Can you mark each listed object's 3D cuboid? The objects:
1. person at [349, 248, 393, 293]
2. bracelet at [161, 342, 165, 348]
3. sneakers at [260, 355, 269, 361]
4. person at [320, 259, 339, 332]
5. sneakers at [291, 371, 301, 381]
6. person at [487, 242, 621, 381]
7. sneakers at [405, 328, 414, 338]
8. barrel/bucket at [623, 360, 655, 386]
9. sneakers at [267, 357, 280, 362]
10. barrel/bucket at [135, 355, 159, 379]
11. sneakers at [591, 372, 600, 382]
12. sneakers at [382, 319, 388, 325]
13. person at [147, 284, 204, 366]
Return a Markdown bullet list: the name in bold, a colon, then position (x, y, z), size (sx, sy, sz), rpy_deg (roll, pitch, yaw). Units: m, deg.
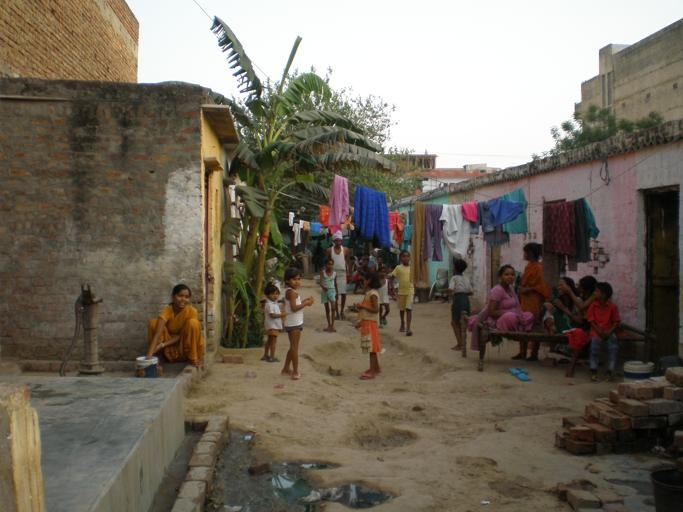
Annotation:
- **person**: position (0.817, 0.280, 20.210), size (1.087, 1.556, 0.848), rpy_deg (0, 4, -7)
- **bracelet**: position (-2.242, 1.120, 8.851), size (0.062, 0.075, 0.106), rpy_deg (0, 7, -9)
- **sneakers**: position (-1.135, 1.519, 10.496), size (0.147, 0.050, 0.090), rpy_deg (2, 6, 5)
- **person**: position (-0.234, 0.715, 13.516), size (0.303, 1.406, 0.807), rpy_deg (1, 7, 0)
- **sneakers**: position (-0.617, 1.615, 9.472), size (0.085, 0.103, 0.252), rpy_deg (1, 5, -3)
- **person**: position (2.834, 0.982, 9.679), size (1.850, 1.018, 1.101), rpy_deg (5, -4, -8)
- **sneakers**: position (1.250, 1.402, 12.846), size (0.142, 0.176, 0.481), rpy_deg (-1, -2, 4)
- **barrel/bucket**: position (3.537, 1.353, 8.363), size (0.351, 0.268, 0.358), rpy_deg (1, -3, 0)
- **sneakers**: position (-1.002, 1.539, 10.477), size (0.126, 0.051, 0.070), rpy_deg (-5, -2, 17)
- **barrel/bucket**: position (-2.226, 1.280, 8.076), size (0.235, 0.222, 0.309), rpy_deg (1, 6, 0)
- **sneakers**: position (3.357, 1.580, 9.300), size (0.109, 0.102, 0.274), rpy_deg (4, 7, 20)
- **sneakers**: position (0.878, 1.334, 14.182), size (0.094, 0.102, 0.240), rpy_deg (-3, -9, 1)
- **person**: position (-2.090, 0.889, 8.877), size (0.689, 1.064, 0.594), rpy_deg (-1, 7, -14)
